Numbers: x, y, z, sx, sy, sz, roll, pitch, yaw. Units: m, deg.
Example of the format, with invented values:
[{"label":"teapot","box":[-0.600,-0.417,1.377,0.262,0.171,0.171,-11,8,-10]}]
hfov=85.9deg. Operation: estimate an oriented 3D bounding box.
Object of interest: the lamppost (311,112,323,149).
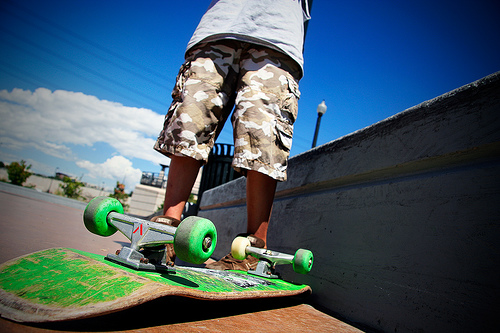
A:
[{"label":"lamppost","box":[2.145,-1.211,8.344,0.179,1.493,0.993,8,-13,14]}]
